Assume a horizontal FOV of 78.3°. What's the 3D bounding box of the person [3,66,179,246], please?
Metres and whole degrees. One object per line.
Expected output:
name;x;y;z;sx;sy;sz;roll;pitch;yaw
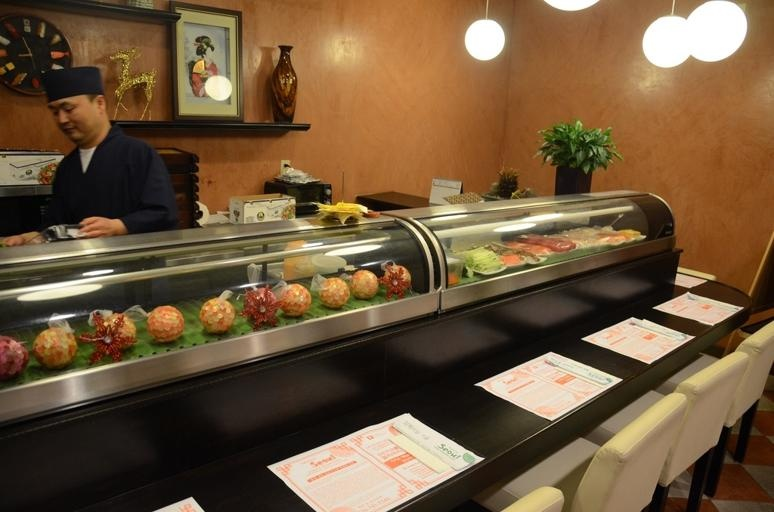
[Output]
person;-1.429;-0.506;2.365;0.540;0.802;0.787;-20;27;-40

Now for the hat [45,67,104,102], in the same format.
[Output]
hat;-1.584;-0.852;2.410;0.232;0.141;0.230;-3;13;35

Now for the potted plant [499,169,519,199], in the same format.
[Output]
potted plant;0.909;-0.542;3.620;0.138;0.178;0.381;3;21;13

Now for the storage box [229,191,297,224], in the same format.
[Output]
storage box;-1.035;-0.401;3.916;0.684;0.238;0.389;-9;19;-32

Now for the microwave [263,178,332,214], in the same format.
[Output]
microwave;-0.780;-0.565;4.285;0.483;0.284;0.337;-8;17;-35

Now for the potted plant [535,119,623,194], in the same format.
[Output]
potted plant;1.310;-0.673;3.360;0.538;0.452;0.521;-2;24;-22
